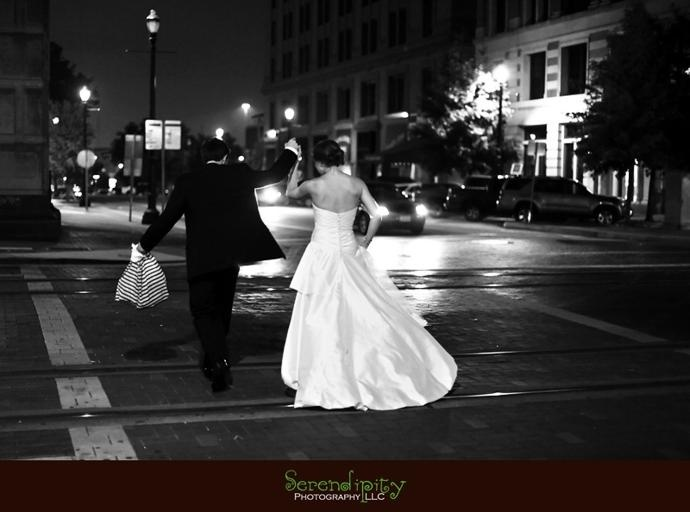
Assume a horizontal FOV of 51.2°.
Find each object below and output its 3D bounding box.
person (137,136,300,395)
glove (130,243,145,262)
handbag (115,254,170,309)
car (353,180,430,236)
[{"bbox_3d":[-1.163,0.065,6.634,1.421,2.240,0.585,-1,9,-3],"label":"person"},{"bbox_3d":[-1.943,-0.027,6.869,0.185,0.192,0.165,4,2,-34],"label":"glove"},{"bbox_3d":[-1.965,0.154,7.026,0.553,0.742,0.449,1,2,6],"label":"handbag"},{"bbox_3d":[1.894,-1.767,26.551,1.639,1.623,3.018,-1,0,-23],"label":"car"}]
